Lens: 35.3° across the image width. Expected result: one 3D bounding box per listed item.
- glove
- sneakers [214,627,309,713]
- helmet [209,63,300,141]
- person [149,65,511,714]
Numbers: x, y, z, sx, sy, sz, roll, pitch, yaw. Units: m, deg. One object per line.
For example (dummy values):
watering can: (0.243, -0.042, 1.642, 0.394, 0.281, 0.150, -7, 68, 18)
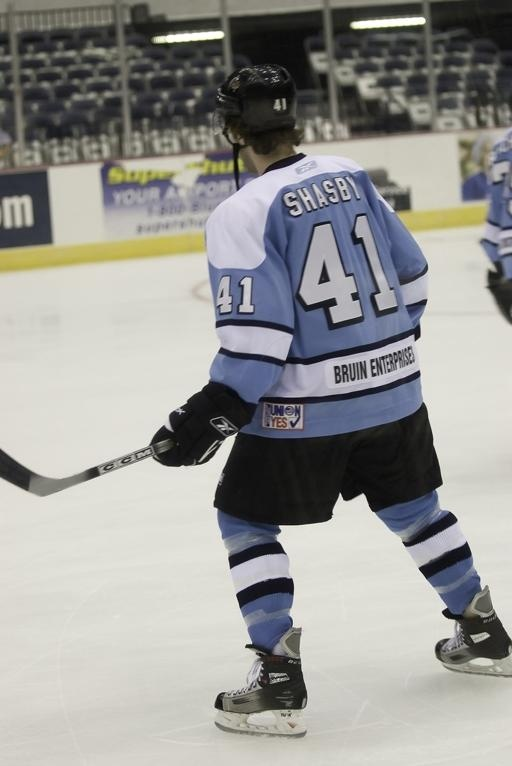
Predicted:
glove: (-0.091, 0.072, 1.311, 0.187, 0.101, 0.065, -32, -21, 14)
sneakers: (0.012, 0.493, 1.350, 0.179, 0.137, 0.057, -15, -29, 26)
helmet: (0.011, -0.480, 1.401, 0.125, 0.126, 0.147, -21, 33, -22)
person: (0.115, 0.013, 1.388, 0.620, 1.123, 0.359, -8, 13, -16)
